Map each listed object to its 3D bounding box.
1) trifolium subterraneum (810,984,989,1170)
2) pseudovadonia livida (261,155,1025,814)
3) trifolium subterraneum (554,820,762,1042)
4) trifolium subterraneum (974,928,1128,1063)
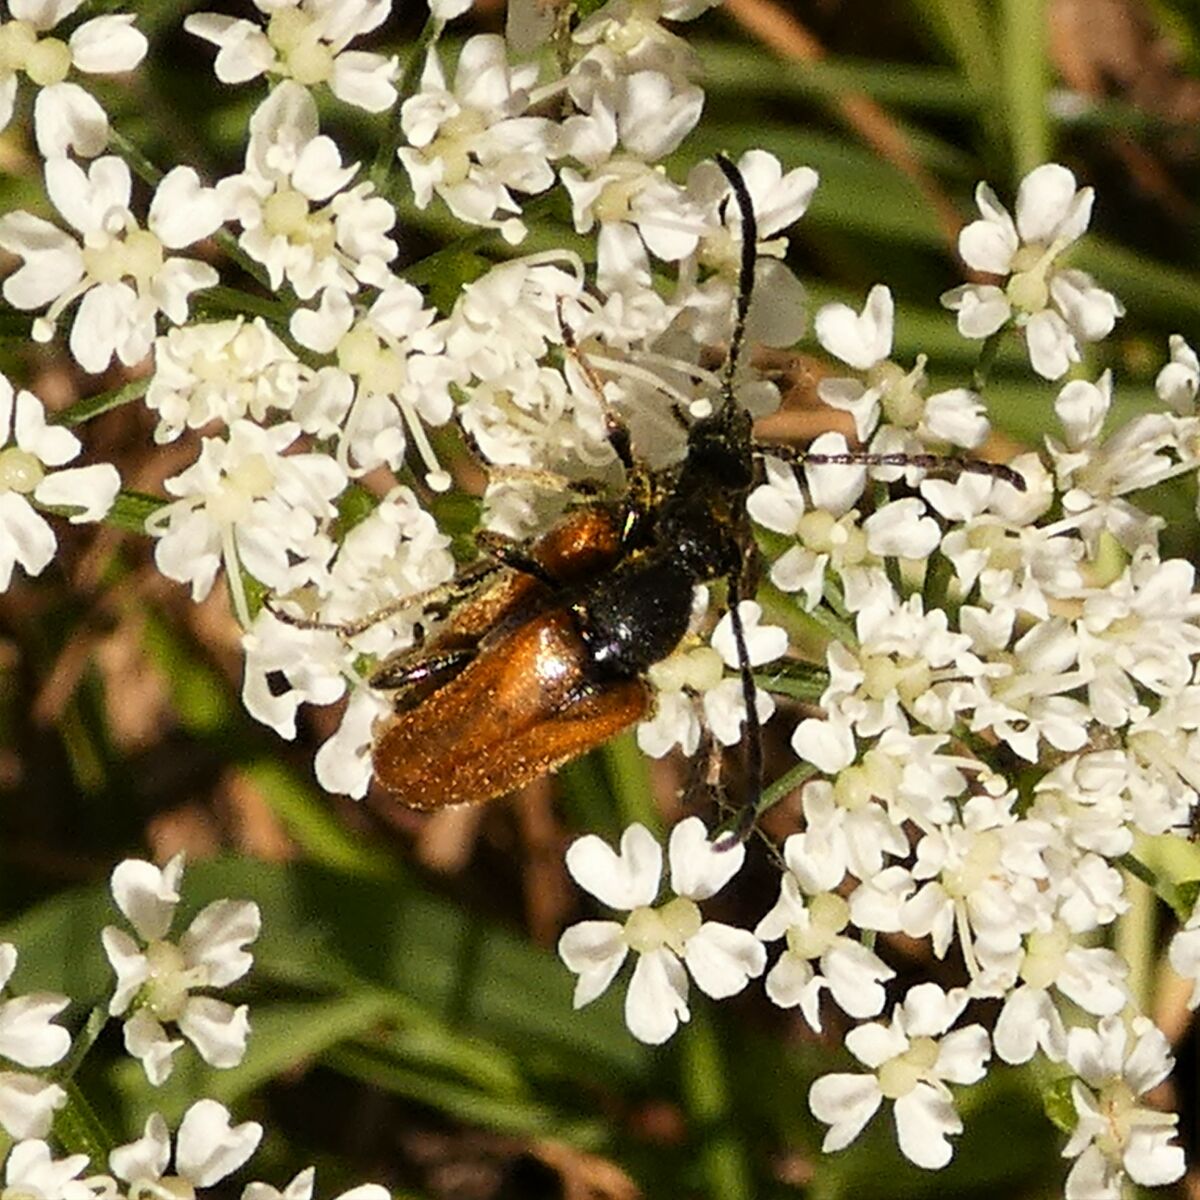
[{"bbox_3d":[0.558,0.873,3.293,0.338,0.345,0.108,-5,10,-2],"label":"trifolium subterraneum"},{"bbox_3d":[0.111,-0.070,3.606,0.909,1.469,1.195,0,35,2],"label":"pseudovadonia livida"},{"bbox_3d":[0.084,0.601,3.373,0.387,0.387,0.147,-17,-1,-1],"label":"trifolium subterraneum"},{"bbox_3d":[0.822,0.706,3.231,0.252,0.263,0.062,23,15,-14],"label":"trifolium subterraneum"}]
